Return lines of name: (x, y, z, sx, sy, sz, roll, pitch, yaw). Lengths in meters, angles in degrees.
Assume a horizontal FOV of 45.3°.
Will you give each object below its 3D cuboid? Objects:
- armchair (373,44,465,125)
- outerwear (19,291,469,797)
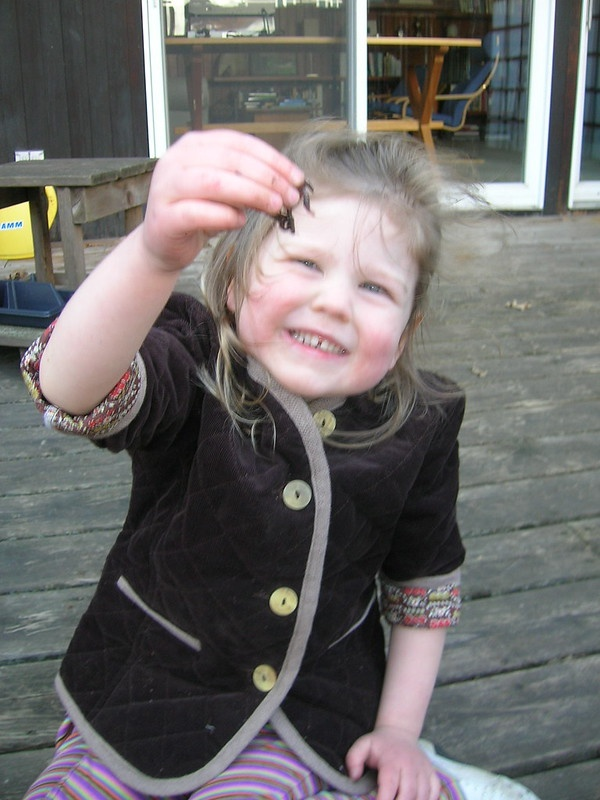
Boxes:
armchair: (0.902, -2.474, 5.607, 0.731, 0.556, 0.589, -3, 16, -17)
outerwear: (-0.048, 0.175, 0.804, 0.480, 0.483, 0.289, 14, -18, -5)
